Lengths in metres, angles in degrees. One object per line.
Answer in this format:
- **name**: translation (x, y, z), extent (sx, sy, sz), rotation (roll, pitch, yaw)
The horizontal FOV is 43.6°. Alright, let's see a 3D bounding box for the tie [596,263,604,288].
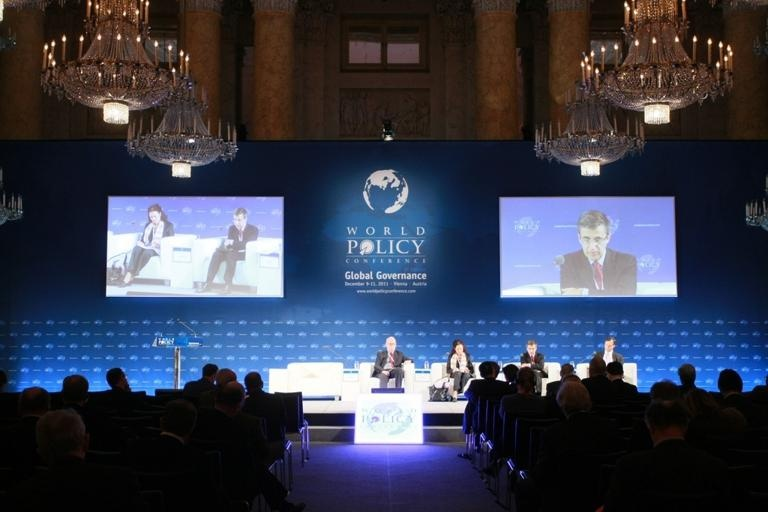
- **tie**: translation (4.149, 0.393, 18.580), extent (0.165, 0.474, 0.132), rotation (1, 13, 13)

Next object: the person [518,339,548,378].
- **person**: translation (2.718, 2.050, 17.761), extent (0.455, 0.963, 0.675), rotation (-4, 8, 10)

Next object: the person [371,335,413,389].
- **person**: translation (0.149, 2.057, 17.641), extent (0.674, 1.097, 0.777), rotation (2, -2, -19)

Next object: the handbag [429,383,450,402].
- **handbag**: translation (1.000, 2.489, 17.524), extent (0.378, 0.375, 0.273), rotation (-3, -4, 13)

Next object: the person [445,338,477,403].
- **person**: translation (1.382, 2.074, 17.485), extent (0.458, 1.072, 0.412), rotation (2, 2, 21)
